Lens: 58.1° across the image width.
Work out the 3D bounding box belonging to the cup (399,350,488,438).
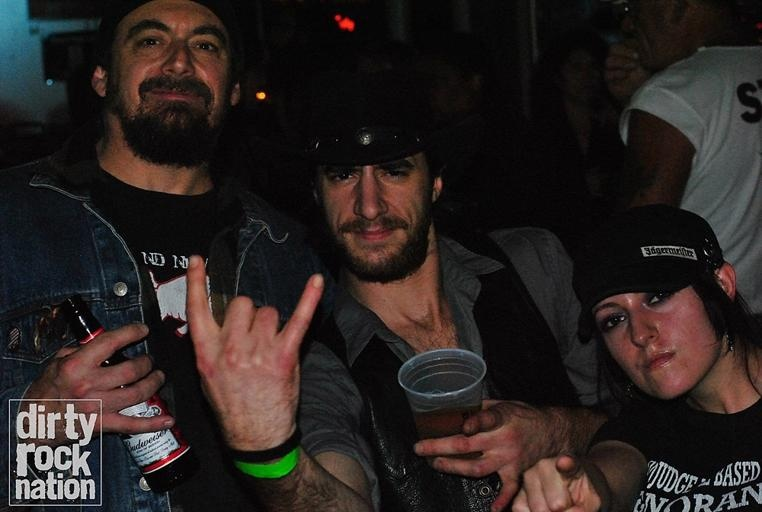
[{"bbox_3d":[0.348,0.774,3.805,0.462,0.409,0.360,-4,22,8],"label":"cup"}]

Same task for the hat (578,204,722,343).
[{"bbox_3d":[1.517,-0.058,4.172,0.774,0.511,1.065,-26,-7,33],"label":"hat"}]
